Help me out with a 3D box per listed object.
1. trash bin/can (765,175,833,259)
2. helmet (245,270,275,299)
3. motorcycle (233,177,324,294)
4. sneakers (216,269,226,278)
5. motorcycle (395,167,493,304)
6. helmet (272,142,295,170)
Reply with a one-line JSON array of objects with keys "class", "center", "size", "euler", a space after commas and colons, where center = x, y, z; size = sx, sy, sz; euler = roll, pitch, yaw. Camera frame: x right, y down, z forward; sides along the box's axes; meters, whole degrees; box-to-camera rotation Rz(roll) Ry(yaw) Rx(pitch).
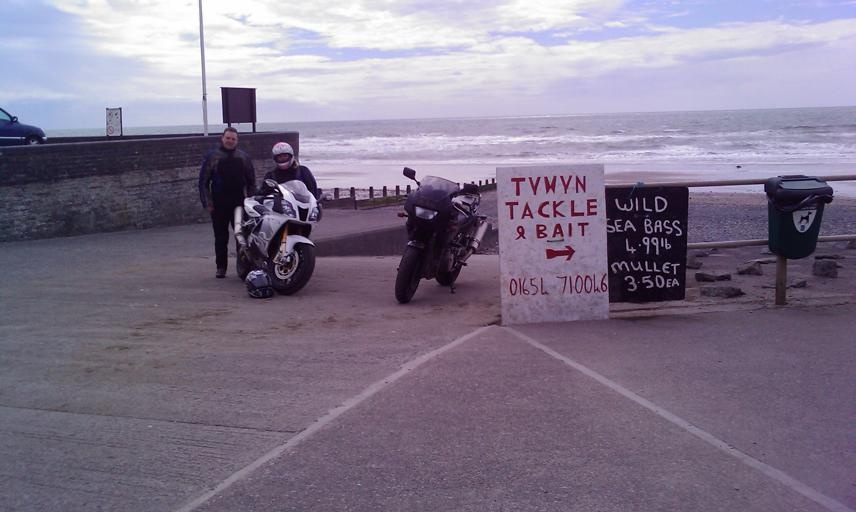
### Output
[{"class": "trash bin/can", "center": [4.363, -0.463, 6.950], "size": [0.685, 0.986, 0.360], "euler": [5, 13, 23]}, {"class": "helmet", "center": [-2.355, 0.396, 8.109], "size": [0.365, 0.354, 0.302], "euler": [-3, 12, -14]}, {"class": "motorcycle", "center": [-2.193, -0.320, 8.589], "size": [1.364, 1.608, 0.692], "euler": [10, 16, 42]}, {"class": "sneakers", "center": [-3.367, 0.273, 9.452], "size": [0.158, 0.132, 0.371], "euler": [0, -2, -20]}, {"class": "motorcycle", "center": [0.145, -0.270, 8.175], "size": [0.649, 1.678, 1.564], "euler": [8, 14, 34]}, {"class": "helmet", "center": [-2.286, -1.602, 9.204], "size": [0.287, 0.409, 0.327], "euler": [-2, 12, -10]}]
